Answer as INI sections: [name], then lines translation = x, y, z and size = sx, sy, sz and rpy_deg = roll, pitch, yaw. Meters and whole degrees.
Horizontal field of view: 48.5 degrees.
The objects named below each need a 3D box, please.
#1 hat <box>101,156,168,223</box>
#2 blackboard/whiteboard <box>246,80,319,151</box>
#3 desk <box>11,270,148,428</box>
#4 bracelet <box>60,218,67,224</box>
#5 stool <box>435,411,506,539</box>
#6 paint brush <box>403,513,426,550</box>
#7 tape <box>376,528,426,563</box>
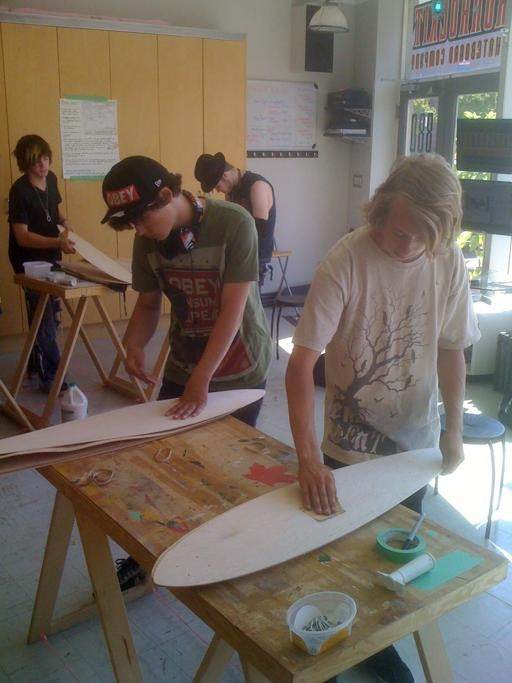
[hat]
translation = -0.330, -0.409, 1.539
size = 0.168, 0.172, 0.137
rpy_deg = -10, 20, -22
[blackboard/whiteboard]
translation = 0.275, -2.631, 6.599
size = 1.181, 0.755, 0.039
rpy_deg = -18, 30, -39
[desk]
translation = -1.230, -0.034, 3.879
size = 0.861, 1.056, 0.974
rpy_deg = 23, 27, 38
[bracelet]
translation = -1.409, -0.880, 4.166
size = 0.054, 0.049, 0.016
rpy_deg = 2, 4, 31
[stool]
translation = 0.962, 0.630, 2.645
size = 0.369, 0.576, 0.364
rpy_deg = 11, 20, 18
[paint brush]
translation = 0.304, 0.371, 1.100
size = 0.037, 0.016, 0.069
rpy_deg = 23, 47, 22
[tape]
translation = 0.268, 0.384, 1.073
size = 0.085, 0.029, 0.100
rpy_deg = 4, 11, 15
